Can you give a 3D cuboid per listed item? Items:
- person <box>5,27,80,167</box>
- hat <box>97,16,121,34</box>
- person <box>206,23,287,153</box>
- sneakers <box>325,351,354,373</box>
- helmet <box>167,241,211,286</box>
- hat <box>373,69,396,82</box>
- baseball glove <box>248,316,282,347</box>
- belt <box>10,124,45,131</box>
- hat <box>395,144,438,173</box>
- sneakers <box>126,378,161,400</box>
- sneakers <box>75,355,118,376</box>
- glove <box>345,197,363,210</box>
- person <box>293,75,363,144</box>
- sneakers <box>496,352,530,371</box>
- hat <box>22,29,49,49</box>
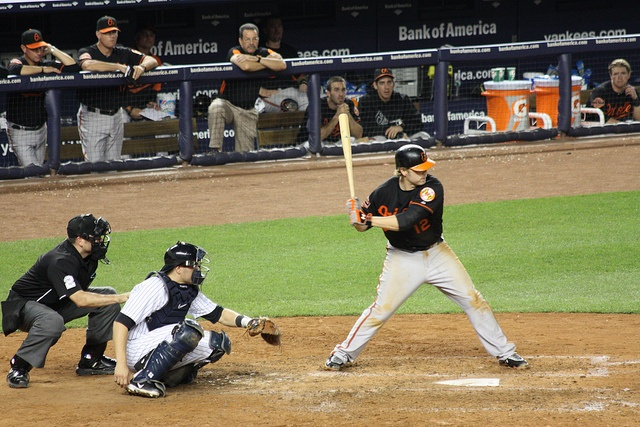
[{"bbox_3d":[-4.809,-1.953,19.242,1.037,2.275,0.782,-4,5,-30],"label":"person"},{"bbox_3d":[-3.542,-3.163,18.960,0.270,0.209,0.372,-11,14,-40],"label":"hat"},{"bbox_3d":[-1.341,-2.210,20.067,1.308,2.227,0.678,-2,4,-6],"label":"person"},{"bbox_3d":[0.244,1.761,13.417,0.330,0.135,0.192,-3,19,-8],"label":"sneakers"},{"bbox_3d":[-1.520,0.558,13.160,0.585,0.435,0.441,-3,7,-10],"label":"helmet"},{"bbox_3d":[1.152,-2.569,20.661,0.325,0.257,0.433,0,-7,-4],"label":"hat"},{"bbox_3d":[-0.676,1.324,13.393,0.208,0.319,0.559,-35,-9,10],"label":"baseball glove"},{"bbox_3d":[-4.982,-1.465,19.190,0.600,0.112,0.084,-2,4,-12],"label":"belt"},{"bbox_3d":[1.141,-0.650,13.247,0.400,0.189,0.299,-2,15,17],"label":"hat"},{"bbox_3d":[-1.977,1.987,12.984,0.484,0.244,0.165,4,17,3],"label":"sneakers"},{"bbox_3d":[-2.683,1.840,13.657,0.509,0.228,0.212,-1,-1,-5],"label":"sneakers"},{"bbox_3d":[0.433,-0.116,13.344,0.129,0.144,0.151,3,15,-1],"label":"glove"},{"bbox_3d":[0.246,-1.819,20.642,1.147,1.320,0.922,-9,20,-29],"label":"person"},{"bbox_3d":[2.324,1.758,13.388,0.335,0.156,0.159,0,5,16],"label":"sneakers"},{"bbox_3d":[-4.771,-2.914,18.872,0.386,0.212,0.259,13,29,29],"label":"hat"}]
